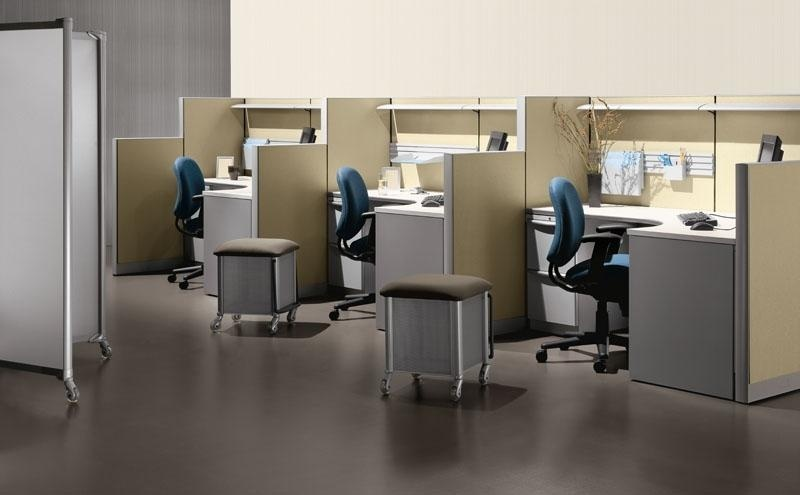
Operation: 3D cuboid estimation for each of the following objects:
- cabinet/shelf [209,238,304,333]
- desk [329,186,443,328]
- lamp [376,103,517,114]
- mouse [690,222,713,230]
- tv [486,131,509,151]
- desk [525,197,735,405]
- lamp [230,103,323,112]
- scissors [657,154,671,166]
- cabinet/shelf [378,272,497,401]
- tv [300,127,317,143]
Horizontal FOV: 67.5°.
[{"bbox_3d":[-1.297,0.253,5.677,0.848,0.918,0.808,2,7,17],"label":"cabinet/shelf"},{"bbox_3d":[-0.209,-0.088,5.972,1.014,1.353,1.071,-3,1,1],"label":"desk"},{"bbox_3d":[0.488,-1.480,6.309,1.676,0.108,0.300,8,14,38],"label":"lamp"},{"bbox_3d":[2.082,-0.148,4.147,0.118,0.037,0.067,-4,7,-4],"label":"mouse"},{"bbox_3d":[0.912,-1.018,5.688,0.166,0.172,0.349,1,11,6],"label":"tv"},{"bbox_3d":[1.780,0.392,4.215,1.217,0.906,1.757,-1,3,-35],"label":"desk"},{"bbox_3d":[-1.551,-1.805,7.648,1.393,0.111,0.335,7,13,33],"label":"lamp"},{"bbox_3d":[2.334,-0.777,5.289,0.102,0.170,0.096,5,15,29],"label":"scissors"},{"bbox_3d":[0.291,0.563,4.276,0.674,0.753,0.867,1,6,27],"label":"cabinet/shelf"},{"bbox_3d":[-1.103,-1.359,7.233,0.247,0.236,0.130,4,6,43],"label":"tv"}]
